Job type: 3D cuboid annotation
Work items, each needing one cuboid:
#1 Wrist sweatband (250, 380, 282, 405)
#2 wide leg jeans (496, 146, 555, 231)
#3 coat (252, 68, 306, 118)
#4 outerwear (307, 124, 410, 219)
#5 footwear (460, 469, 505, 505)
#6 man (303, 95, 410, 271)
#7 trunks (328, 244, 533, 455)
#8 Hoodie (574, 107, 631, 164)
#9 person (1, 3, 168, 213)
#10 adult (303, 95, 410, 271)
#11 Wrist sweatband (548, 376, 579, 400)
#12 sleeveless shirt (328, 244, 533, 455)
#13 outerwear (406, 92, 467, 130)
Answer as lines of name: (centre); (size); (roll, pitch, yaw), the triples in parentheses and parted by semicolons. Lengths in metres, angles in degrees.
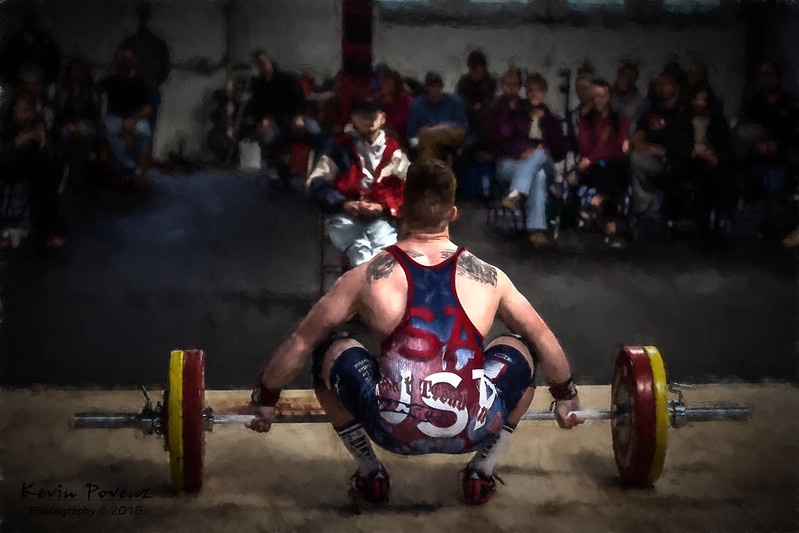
Wrist sweatband: (-1.001, 0.969, 6.647); (0.192, 0.148, 0.157); (22, -6, 6)
wide leg jeans: (1.307, -0.760, 8.803); (0.596, 0.725, 0.251); (4, 8, -3)
coat: (-1.216, -1.730, 8.902); (0.564, 0.470, 0.105); (5, 6, 19)
outerwear: (-0.336, -0.887, 8.239); (0.986, 0.777, 0.519); (-2, 26, -19)
footwear: (0.585, 1.667, 6.673); (0.209, 0.134, 0.290); (8, 9, 15)
man: (-0.374, -0.661, 8.154); (0.901, 1.677, 0.884); (1, 5, 6)
trunks: (0.245, 0.761, 6.860); (1.926, 1.999, 1.161); (1, -1, -3)
Hoodie: (2.060, -1.328, 9.062); (0.511, 0.551, 0.201); (4, 7, 8)
person: (-3.028, -1.862, 9.537); (1.657, 1.672, 0.499); (2, 12, -2)
adult: (-0.299, -0.648, 8.211); (0.970, 1.732, 0.938); (2, 5, 34)
Wrist sweatband: (1.228, 0.919, 6.748); (0.158, 0.138, 0.188); (-13, -5, -29)
sleeveless shirt: (0.215, 0.721, 6.858); (1.926, 1.999, 1.161); (1, -1, -3)
outerwear: (0.364, -1.516, 8.945); (0.631, 0.512, 0.329); (-2, 8, 14)
